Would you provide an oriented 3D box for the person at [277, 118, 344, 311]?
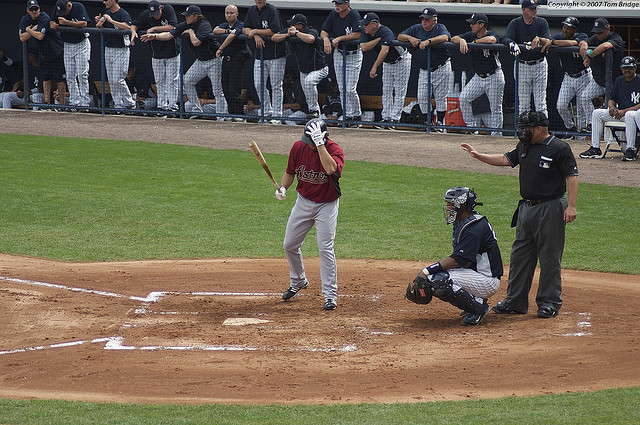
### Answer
[{"bbox_3d":[-0.129,0.021,15.185,0.989,2.715,0.522,2,6,44],"label":"person"}]

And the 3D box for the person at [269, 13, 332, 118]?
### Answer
[{"bbox_3d":[-0.315,-3.322,23.806,1.255,2.261,0.743,-2,4,-9],"label":"person"}]

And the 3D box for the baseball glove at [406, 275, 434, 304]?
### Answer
[{"bbox_3d":[1.394,1.130,14.773,0.390,0.254,0.442,-8,-10,-8],"label":"baseball glove"}]

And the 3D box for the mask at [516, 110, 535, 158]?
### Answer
[{"bbox_3d":[2.867,-1.141,14.806,0.230,0.488,0.419,-4,3,-19],"label":"mask"}]

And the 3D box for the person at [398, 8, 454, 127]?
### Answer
[{"bbox_3d":[2.447,-3.220,23.368,1.032,2.574,0.979,0,5,21],"label":"person"}]
